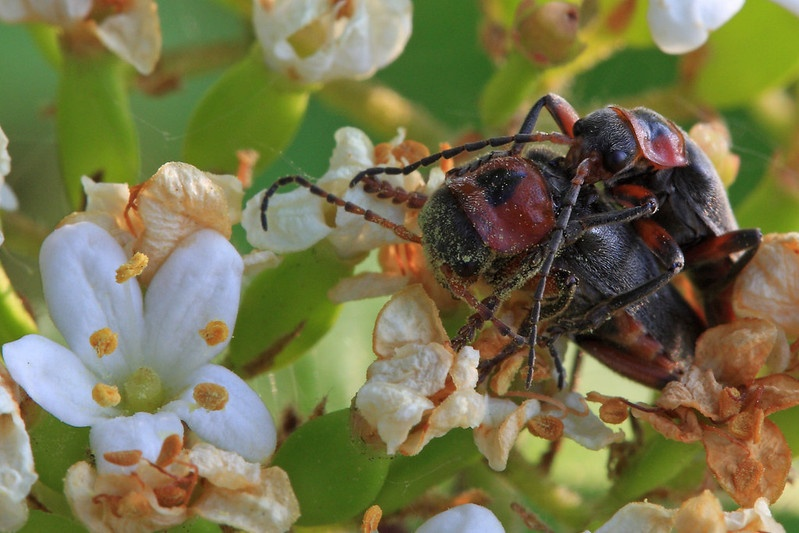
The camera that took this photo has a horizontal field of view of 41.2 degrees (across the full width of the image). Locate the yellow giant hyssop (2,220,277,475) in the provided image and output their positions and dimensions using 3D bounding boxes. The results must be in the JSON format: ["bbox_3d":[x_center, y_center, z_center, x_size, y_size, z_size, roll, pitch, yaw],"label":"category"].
[{"bbox_3d":[-0.286,0.094,1.205,0.292,0.086,0.275,2,69,-5],"label":"yellow giant hyssop"}]
